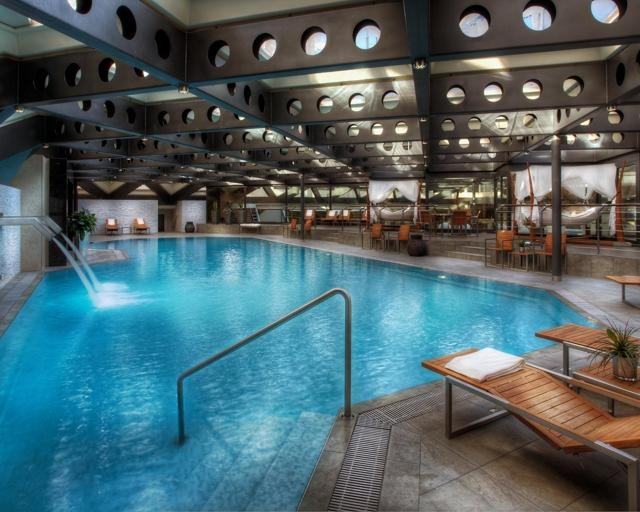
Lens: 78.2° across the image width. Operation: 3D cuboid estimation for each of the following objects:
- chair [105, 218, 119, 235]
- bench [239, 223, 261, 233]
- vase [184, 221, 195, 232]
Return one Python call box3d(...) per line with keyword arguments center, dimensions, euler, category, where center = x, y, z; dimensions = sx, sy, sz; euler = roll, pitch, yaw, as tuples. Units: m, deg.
box3d(center=(-16.728, -2.329, 31.468), dimensions=(0.940, 1.281, 1.210), euler=(-5, 8, -27), category="chair")
box3d(center=(-5.793, -2.237, 32.465), dimensions=(2.044, 0.733, 0.568), euler=(2, 8, 20), category="bench")
box3d(center=(-11.619, -2.542, 34.884), dimensions=(0.874, 0.947, 0.524), euler=(-3, 8, -18), category="vase")
